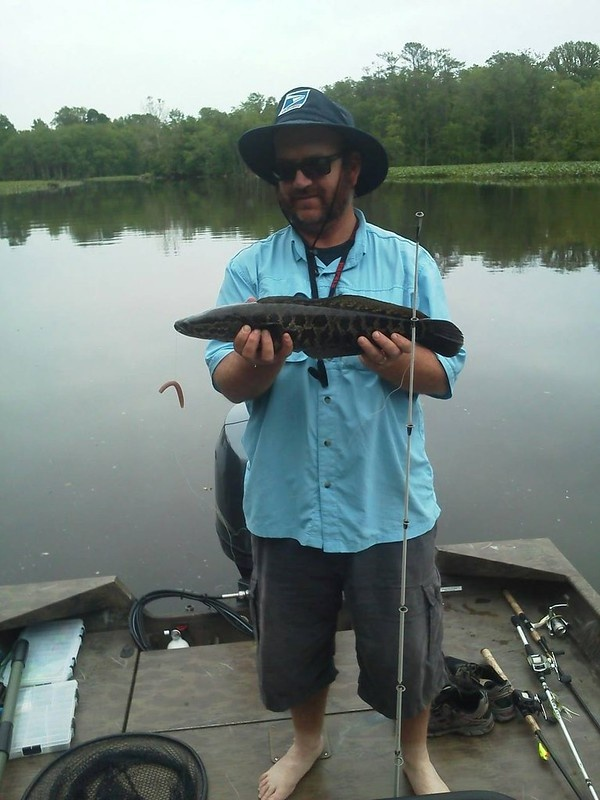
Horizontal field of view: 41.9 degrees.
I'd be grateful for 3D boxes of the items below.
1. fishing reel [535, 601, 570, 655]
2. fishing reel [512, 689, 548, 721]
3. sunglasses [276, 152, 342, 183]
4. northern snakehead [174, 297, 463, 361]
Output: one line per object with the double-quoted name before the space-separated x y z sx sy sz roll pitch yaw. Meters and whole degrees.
"fishing reel" 1.366 1.187 4.199 0.162 0.130 0.237 10 -3 -3
"fishing reel" 1.040 1.391 3.600 0.072 0.091 0.163 19 7 -23
"sunglasses" 0.026 -0.856 2.886 0.247 0.104 0.137 0 16 6
"northern snakehead" 0.067 -0.246 2.756 1.022 0.241 0.382 -2 15 0
